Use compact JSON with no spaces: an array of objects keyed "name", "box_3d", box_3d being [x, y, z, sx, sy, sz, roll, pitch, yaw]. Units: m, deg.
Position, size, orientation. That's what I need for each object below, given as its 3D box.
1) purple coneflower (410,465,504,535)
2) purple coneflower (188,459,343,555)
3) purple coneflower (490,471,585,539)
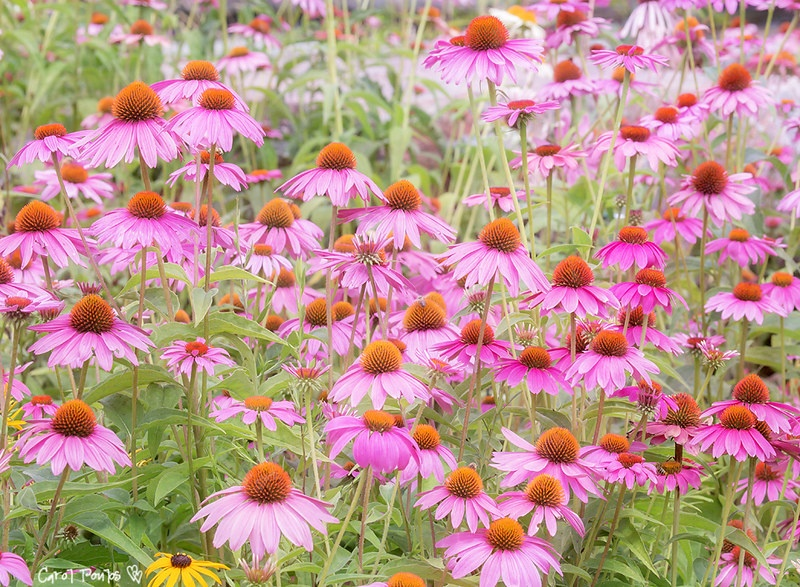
[{"name":"purple coneflower","box_3d":[0.210,0.695,3.058,0.210,0.122,0.216,16,13,-39]},{"name":"purple coneflower","box_3d":[-0.452,0.668,2.910,0.310,0.179,0.313,-8,22,-40]},{"name":"purple coneflower","box_3d":[0.479,0.654,3.065,0.215,0.131,0.227,28,12,31]}]
